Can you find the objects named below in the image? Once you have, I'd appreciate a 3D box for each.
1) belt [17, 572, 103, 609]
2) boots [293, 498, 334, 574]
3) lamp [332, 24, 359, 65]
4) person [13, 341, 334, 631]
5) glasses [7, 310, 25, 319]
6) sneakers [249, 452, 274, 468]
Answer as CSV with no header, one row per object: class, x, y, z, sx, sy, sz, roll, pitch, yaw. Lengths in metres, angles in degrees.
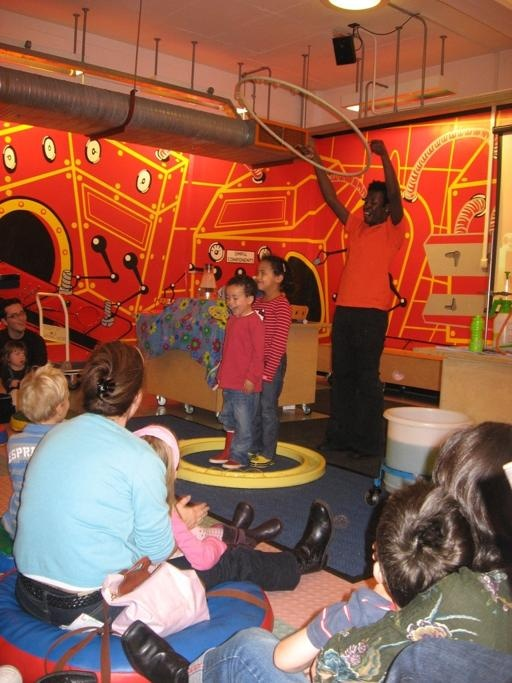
belt,-0.486,0.607,1.354,0.170,0.053,0.131,8,0,-8
boots,0.196,0.737,2.115,0.139,0.293,0.115,7,-3,-42
lamp,0.815,-2.729,5.052,0.185,0.294,0.298,4,5,14
person,-0.217,0.433,1.651,0.439,0.660,0.929,-11,-14,41
glasses,-1.959,-0.224,4.544,0.074,0.085,0.164,4,5,18
sneakers,0.034,0.749,3.498,0.134,0.050,0.074,6,5,-13
